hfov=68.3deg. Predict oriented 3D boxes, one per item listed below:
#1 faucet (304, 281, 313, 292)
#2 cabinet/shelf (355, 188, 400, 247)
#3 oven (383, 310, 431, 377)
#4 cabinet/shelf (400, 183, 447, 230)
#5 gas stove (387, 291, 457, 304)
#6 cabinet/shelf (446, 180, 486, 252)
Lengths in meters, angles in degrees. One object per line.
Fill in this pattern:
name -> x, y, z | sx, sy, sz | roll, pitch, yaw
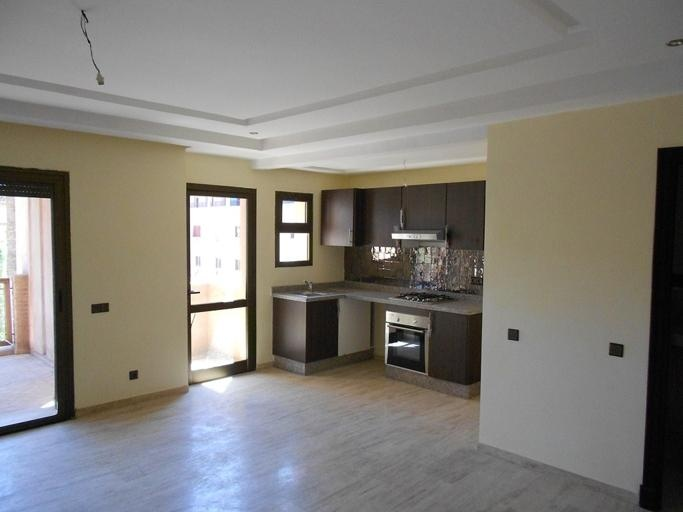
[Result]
faucet -> -0.453, 0.425, 7.487 | 0.118, 0.176, 0.163 | -4, -4, 44
cabinet/shelf -> 0.569, -0.501, 7.287 | 0.839, 0.931, 0.687 | 3, 17, 10
oven -> 0.887, 1.035, 6.663 | 0.579, 0.974, 0.749 | 1, 1, -35
cabinet/shelf -> 1.075, -0.636, 6.495 | 0.176, 0.559, 0.546 | -5, 6, -41
gas stove -> 1.085, 0.531, 6.636 | 0.659, 0.054, 0.645 | 7, 10, 40
cabinet/shelf -> 1.491, -0.602, 6.321 | 0.496, 0.765, 0.504 | 16, 3, 39
